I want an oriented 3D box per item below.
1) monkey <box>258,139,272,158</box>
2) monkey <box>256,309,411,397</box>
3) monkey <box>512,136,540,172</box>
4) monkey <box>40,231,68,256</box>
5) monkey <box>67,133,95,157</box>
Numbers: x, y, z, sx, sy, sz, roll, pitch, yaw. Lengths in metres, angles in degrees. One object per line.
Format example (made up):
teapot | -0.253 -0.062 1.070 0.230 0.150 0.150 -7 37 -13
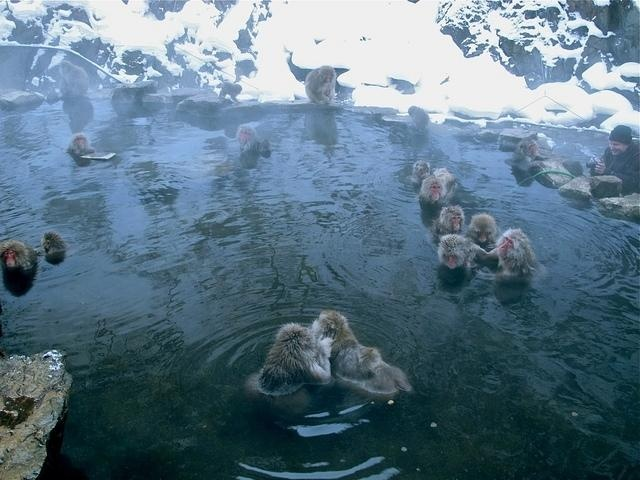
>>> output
monkey | -1.678 -2.786 16.520 0.476 0.570 0.206 7 -9 -14
monkey | 0.173 1.692 8.636 1.968 1.125 2.268 0 15 1
monkey | 6.231 -2.548 16.411 0.856 0.384 1.207 15 72 38
monkey | -5.347 0.079 10.809 0.396 0.435 0.505 4 -12 -23
monkey | -7.222 -2.836 16.402 0.747 0.394 0.885 -7 62 -3
